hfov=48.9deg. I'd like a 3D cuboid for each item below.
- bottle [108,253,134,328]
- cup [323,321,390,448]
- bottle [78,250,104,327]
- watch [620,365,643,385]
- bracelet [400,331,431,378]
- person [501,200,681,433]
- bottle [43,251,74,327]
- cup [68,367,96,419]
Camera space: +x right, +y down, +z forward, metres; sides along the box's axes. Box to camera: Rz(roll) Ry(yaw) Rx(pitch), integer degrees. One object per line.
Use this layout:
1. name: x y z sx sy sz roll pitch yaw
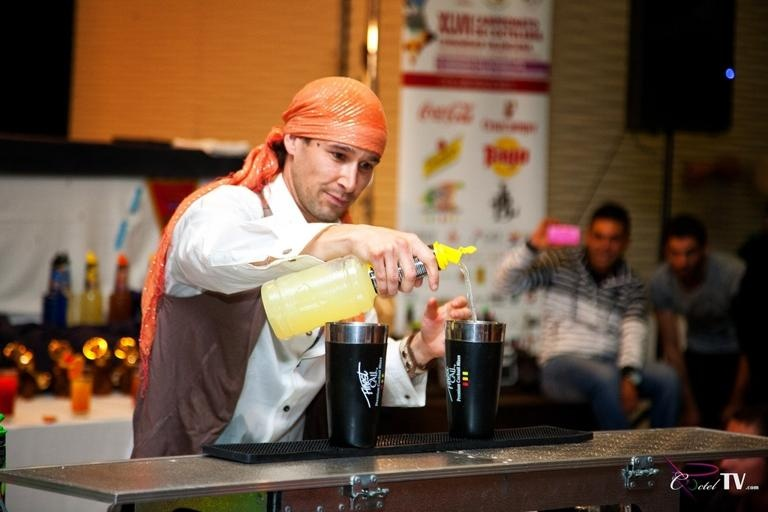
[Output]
1. bottle: -1.312 0.144 4.168 0.117 0.324 0.504 -2 12 -18
2. cup: -0.085 0.358 2.366 0.172 0.351 0.109 2 12 1
3. bottle: -1.427 0.141 4.091 0.112 0.369 0.353 -2 12 -18
4. watch: 1.137 0.541 3.909 0.098 0.106 0.103 2 3 -13
5. bracelet: 0.106 0.322 2.804 0.075 0.137 0.102 -14 0 6
6. person: 0.948 0.296 3.797 0.886 1.105 0.466 4 12 9
7. bottle: -1.557 0.161 3.990 0.121 0.339 0.290 1 12 -6
8. cup: -1.299 0.602 3.609 0.078 0.160 0.109 -3 13 -23
